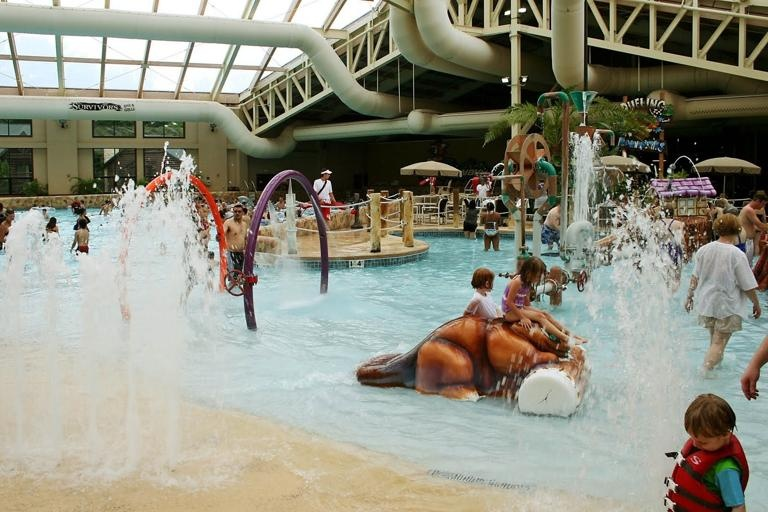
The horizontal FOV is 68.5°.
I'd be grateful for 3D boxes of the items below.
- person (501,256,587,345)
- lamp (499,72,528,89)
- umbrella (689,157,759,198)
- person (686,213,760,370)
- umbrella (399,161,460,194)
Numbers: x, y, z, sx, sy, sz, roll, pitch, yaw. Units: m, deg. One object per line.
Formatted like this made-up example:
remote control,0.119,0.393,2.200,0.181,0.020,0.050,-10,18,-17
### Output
person,1.865,0.523,6.529,0.946,0.955,0.427,10,19,27
lamp,4.634,-6.237,19.926,0.762,0.547,3.118,3,11,16
umbrella,10.744,-2.326,17.617,1.220,0.867,1.311,2,12,25
person,4.065,0.446,6.751,0.735,1.932,1.011,5,11,29
umbrella,2.078,-3.408,22.761,1.794,1.186,1.875,3,12,17
